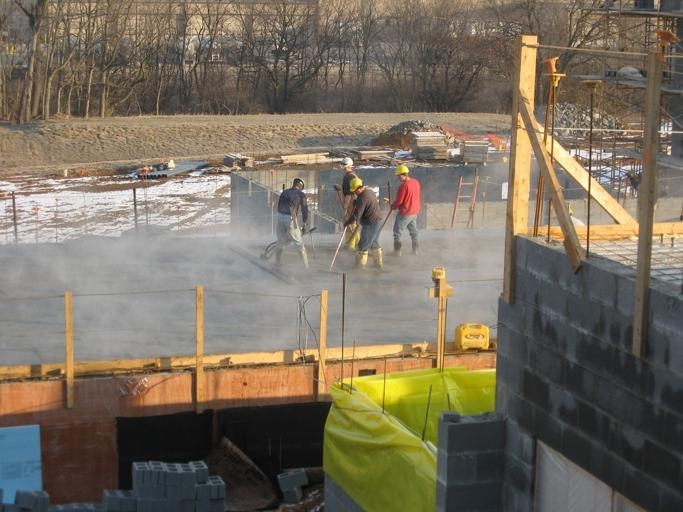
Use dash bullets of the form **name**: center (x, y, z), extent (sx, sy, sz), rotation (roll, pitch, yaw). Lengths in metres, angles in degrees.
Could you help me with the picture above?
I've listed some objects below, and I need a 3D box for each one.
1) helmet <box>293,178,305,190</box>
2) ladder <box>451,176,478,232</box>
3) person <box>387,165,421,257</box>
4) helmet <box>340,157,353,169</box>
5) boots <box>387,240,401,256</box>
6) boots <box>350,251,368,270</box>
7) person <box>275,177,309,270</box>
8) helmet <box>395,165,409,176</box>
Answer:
- **helmet**: center (-1.097, -1.862, 35.913), extent (0.251, 0.345, 0.306), rotation (-12, 12, -38)
- **ladder**: center (4.088, -1.832, 46.326), extent (0.898, 1.491, 2.484), rotation (0, 11, 7)
- **person**: center (1.687, -1.199, 36.833), extent (0.744, 2.454, 1.419), rotation (-1, 10, 2)
- **helmet**: center (0.156, -2.669, 39.267), extent (0.325, 0.258, 0.465), rotation (1, -2, -4)
- **boots**: center (1.448, -0.233, 37.177), extent (0.328, 0.395, 0.360), rotation (-7, 15, -31)
- **boots**: center (0.510, 0.023, 36.134), extent (0.345, 0.571, 0.399), rotation (-13, 22, -35)
- **person**: center (-1.306, -0.879, 36.204), extent (0.854, 2.297, 1.060), rotation (-1, 10, 2)
- **helmet**: center (1.482, -2.231, 36.416), extent (0.454, 0.267, 0.382), rotation (-4, 8, 39)
